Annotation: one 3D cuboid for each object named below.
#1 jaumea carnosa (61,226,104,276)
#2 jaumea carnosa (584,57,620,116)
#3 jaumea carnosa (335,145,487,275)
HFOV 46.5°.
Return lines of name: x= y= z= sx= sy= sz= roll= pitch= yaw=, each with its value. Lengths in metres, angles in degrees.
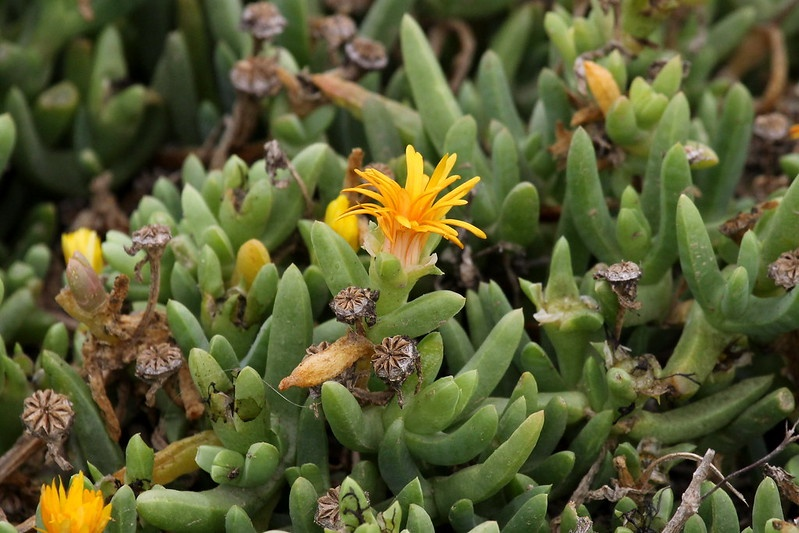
jaumea carnosa: x=-0.640 y=-0.033 z=1.868 sx=0.071 sy=0.103 sz=0.085 roll=-1 pitch=41 yaw=0
jaumea carnosa: x=0.402 y=-0.352 z=1.847 sx=0.078 sy=0.102 sz=0.093 roll=4 pitch=33 yaw=1
jaumea carnosa: x=-0.003 y=-0.072 z=1.633 sx=0.226 sy=0.242 sz=0.250 roll=12 pitch=-4 yaw=12
